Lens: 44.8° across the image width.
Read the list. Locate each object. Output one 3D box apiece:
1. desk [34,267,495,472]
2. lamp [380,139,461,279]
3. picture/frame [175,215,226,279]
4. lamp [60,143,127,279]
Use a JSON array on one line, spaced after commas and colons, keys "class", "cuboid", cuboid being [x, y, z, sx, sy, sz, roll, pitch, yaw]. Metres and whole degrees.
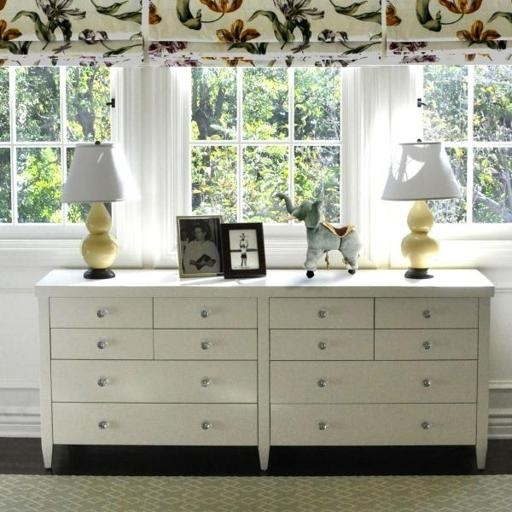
[{"class": "desk", "cuboid": [0.045, 0.445, 2.784, 1.827, 0.796, 0.533, 0, 12, 1]}, {"class": "lamp", "cuboid": [0.683, -0.190, 2.581, 0.311, 0.566, 0.176, 3, 13, 17]}, {"class": "picture/frame", "cuboid": [-0.240, -0.042, 2.705, 0.201, 0.264, 0.012, -1, 4, 10]}, {"class": "lamp", "cuboid": [-0.685, -0.195, 2.626, 0.308, 0.577, 0.217, 2, 13, 9]}]
